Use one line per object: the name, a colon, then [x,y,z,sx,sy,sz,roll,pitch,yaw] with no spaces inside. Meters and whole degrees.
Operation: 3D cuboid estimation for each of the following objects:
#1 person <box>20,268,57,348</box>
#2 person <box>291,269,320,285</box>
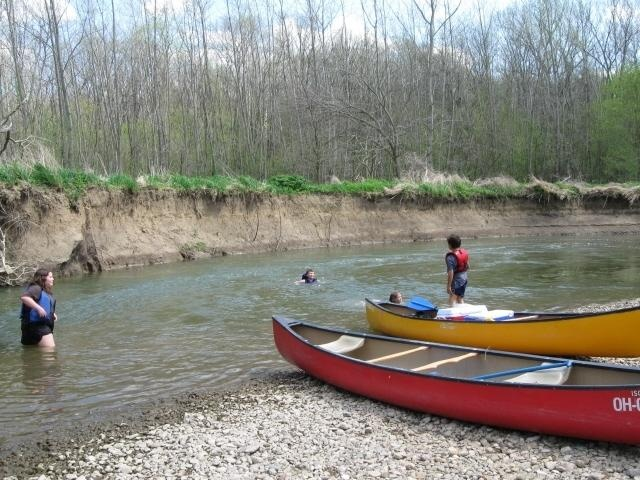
person: [-5.851,1.428,13.676,0.689,1.255,0.623,-6,4,-26]
person: [-0.406,1.066,19.344,0.740,0.403,0.636,-3,3,24]
